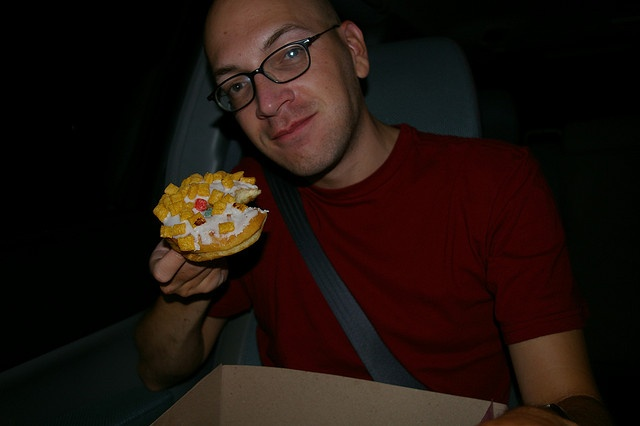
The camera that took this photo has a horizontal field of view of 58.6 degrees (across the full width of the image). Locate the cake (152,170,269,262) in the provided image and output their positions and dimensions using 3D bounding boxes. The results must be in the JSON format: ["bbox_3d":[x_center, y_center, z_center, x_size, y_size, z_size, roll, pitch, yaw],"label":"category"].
[{"bbox_3d":[-0.487,0.025,2.580,0.472,0.415,0.288,-15,10,-13],"label":"cake"}]
